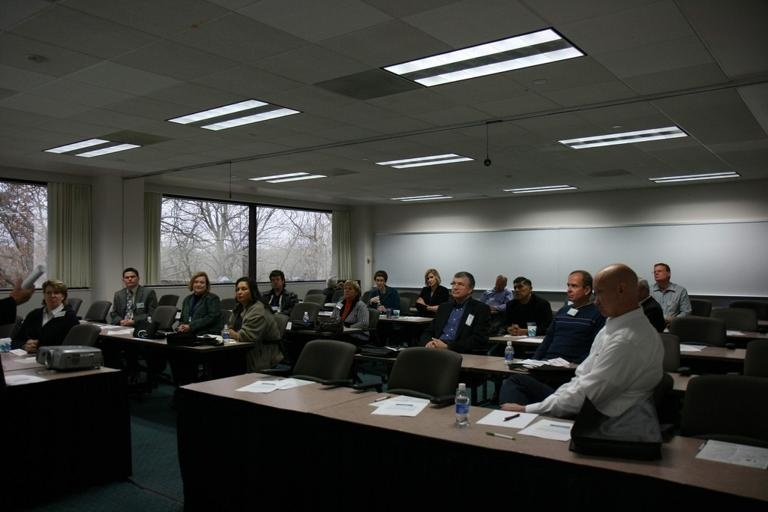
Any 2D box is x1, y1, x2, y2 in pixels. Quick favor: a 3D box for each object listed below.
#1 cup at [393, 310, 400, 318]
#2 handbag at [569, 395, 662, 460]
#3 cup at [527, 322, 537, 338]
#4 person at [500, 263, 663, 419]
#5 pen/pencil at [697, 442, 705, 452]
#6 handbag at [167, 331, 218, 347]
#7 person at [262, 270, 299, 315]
[{"bbox_3d":[0.227,1.021,8.538,0.100,0.102,0.096,0,-9,0],"label":"cup"},{"bbox_3d":[1.367,0.973,2.791,0.628,0.288,0.329,1,-3,-1],"label":"handbag"},{"bbox_3d":[1.935,0.972,6.312,0.164,0.225,0.158,0,-6,0],"label":"cup"},{"bbox_3d":[1.430,0.567,3.170,0.559,1.029,0.531,2,-3,-17],"label":"person"},{"bbox_3d":[1.850,1.096,2.815,0.027,0.028,0.120,-18,0,40],"label":"pen/pencil"},{"bbox_3d":[-2.330,1.006,5.798,0.300,0.067,0.304,0,-1,41],"label":"handbag"},{"bbox_3d":[-2.051,0.718,9.482,0.827,0.723,0.453,-2,-15,8],"label":"person"}]
